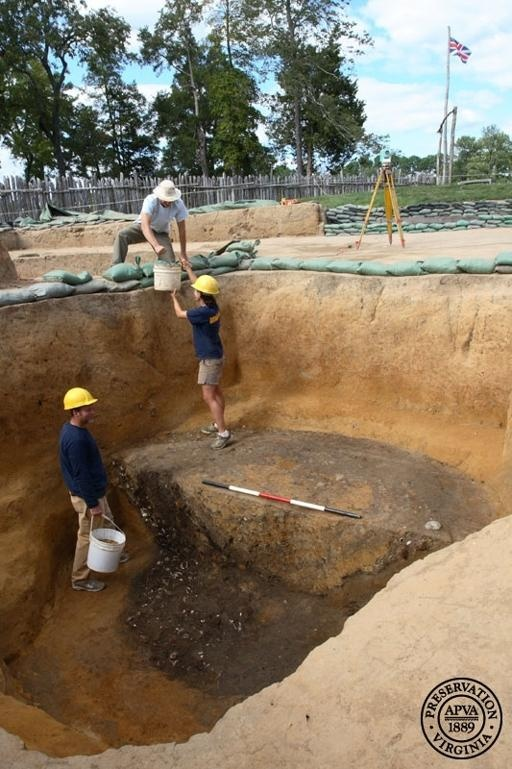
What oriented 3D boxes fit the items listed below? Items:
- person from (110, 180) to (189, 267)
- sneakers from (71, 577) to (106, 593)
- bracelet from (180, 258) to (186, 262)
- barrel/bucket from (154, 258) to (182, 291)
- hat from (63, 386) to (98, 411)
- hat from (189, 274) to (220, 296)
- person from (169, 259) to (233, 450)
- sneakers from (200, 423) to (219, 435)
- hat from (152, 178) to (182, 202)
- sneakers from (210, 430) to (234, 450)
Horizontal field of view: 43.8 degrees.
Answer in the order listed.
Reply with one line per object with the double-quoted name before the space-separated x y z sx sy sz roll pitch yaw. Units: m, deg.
"person" -1.026 -1.519 6.062 0.732 0.770 0.983 -8 13 -10
"sneakers" -1.362 1.633 5.177 0.228 0.037 0.112 5 39 -3
"bracelet" -0.698 -1.193 6.098 0.052 0.014 0.044 0 46 4
"barrel/bucket" -0.809 -1.039 5.947 0.304 0.244 0.287 1 19 0
"hat" -1.329 0.108 4.641 0.263 0.124 0.203 -9 13 16
"hat" -0.450 -0.848 5.439 0.204 0.158 0.232 -12 14 -29
"person" -0.496 -0.263 5.912 0.432 1.696 0.913 -7 14 -4
"sneakers" -0.458 0.453 6.361 0.205 0.086 0.078 8 13 43
"hat" -0.801 -1.756 5.749 0.216 0.216 0.307 -1 13 15
"sneakers" -0.319 0.515 5.952 0.103 0.116 0.272 2 22 34
